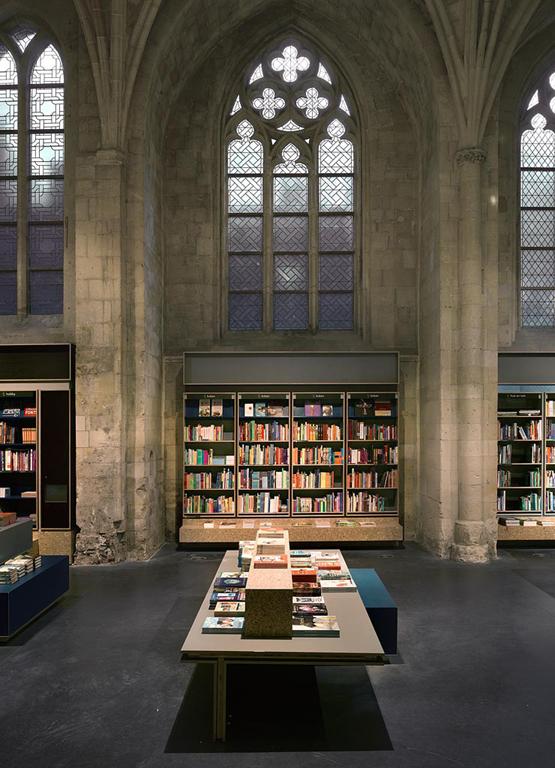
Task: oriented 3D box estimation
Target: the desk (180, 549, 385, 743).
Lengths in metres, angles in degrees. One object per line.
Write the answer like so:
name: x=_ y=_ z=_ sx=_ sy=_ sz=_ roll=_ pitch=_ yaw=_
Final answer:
desk: x=0.068 y=2.095 z=6.676 sx=1.408 sy=0.721 sz=1.264 roll=1 pitch=7 yaw=3
